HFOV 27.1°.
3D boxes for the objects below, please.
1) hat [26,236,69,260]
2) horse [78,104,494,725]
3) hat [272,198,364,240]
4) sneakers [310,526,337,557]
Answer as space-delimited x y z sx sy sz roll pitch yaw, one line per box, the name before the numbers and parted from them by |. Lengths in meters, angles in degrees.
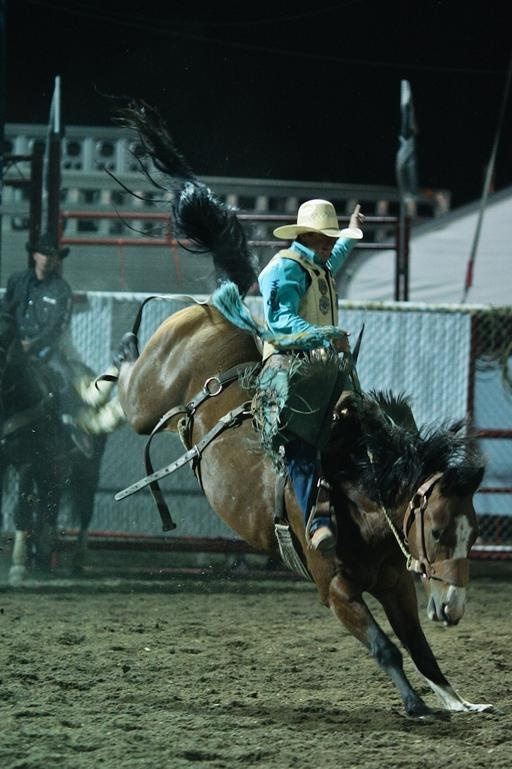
hat | -1.459 -0.947 7.403 0.323 0.128 0.230 2 0 -2
horse | 0.146 0.028 5.227 0.882 1.910 3.155 -2 21 -31
hat | 0.300 -0.722 4.852 0.326 0.111 0.251 -2 3 6
sneakers | 0.285 0.678 4.509 0.105 0.114 0.201 2 0 3
